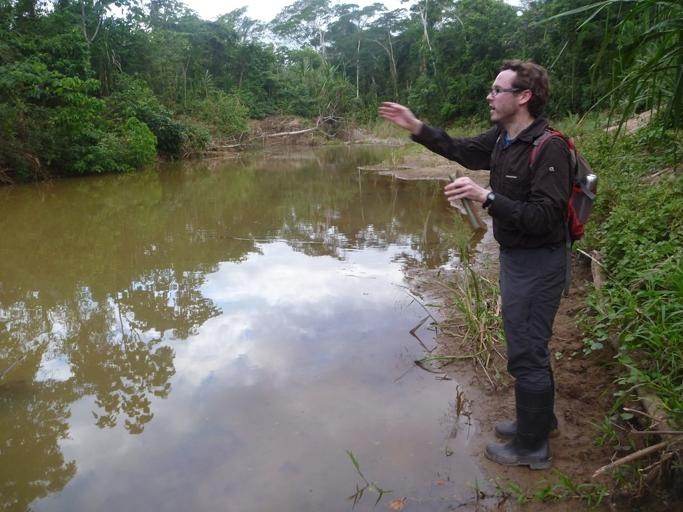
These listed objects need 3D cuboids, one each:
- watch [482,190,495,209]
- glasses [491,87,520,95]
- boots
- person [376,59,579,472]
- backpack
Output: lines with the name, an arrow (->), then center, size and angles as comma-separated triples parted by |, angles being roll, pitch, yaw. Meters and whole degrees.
watch -> 1.153, -0.446, 4.243 | 0.065, 0.104, 0.111 | 29, 62, 13
glasses -> 1.318, -1.338, 4.358 | 0.131, 0.043, 0.135 | 2, 10, 3
boots -> 1.522, 1.345, 4.717 | 0.692, 0.966, 0.699 | 2, 12, 22
person -> 1.380, 0.031, 4.501 | 1.127, 3.026, 1.502 | -7, 21, 7
backpack -> 1.778, -0.558, 4.334 | 0.472, 0.906, 0.372 | 0, 23, 25
